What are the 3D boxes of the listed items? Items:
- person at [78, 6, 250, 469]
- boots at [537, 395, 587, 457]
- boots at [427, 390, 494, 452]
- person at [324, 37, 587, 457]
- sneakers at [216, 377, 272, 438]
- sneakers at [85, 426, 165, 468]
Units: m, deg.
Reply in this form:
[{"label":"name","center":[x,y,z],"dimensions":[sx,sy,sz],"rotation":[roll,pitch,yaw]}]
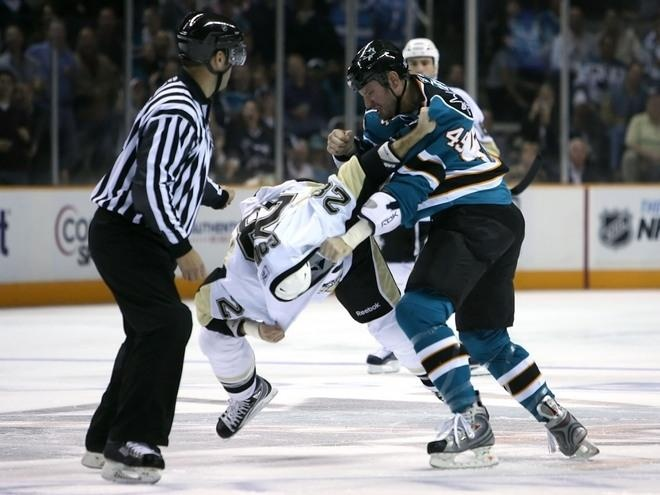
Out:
[{"label":"person","center":[-0.792,-0.035,4.568],"dimensions":[0.720,2.231,0.492],"rotation":[-2,7,-14]},{"label":"boots","center":[1.141,0.901,4.740],"dimensions":[0.192,0.324,0.137],"rotation":[-42,4,-19]},{"label":"boots","center":[0.622,0.887,4.589],"dimensions":[0.378,0.250,0.156],"rotation":[-9,-4,-20]},{"label":"person","center":[0.618,0.008,4.729],"dimensions":[1.240,2.094,0.624],"rotation":[0,6,4]},{"label":"sneakers","center":[-0.455,0.877,5.076],"dimensions":[0.101,0.340,0.148],"rotation":[41,-4,48]},{"label":"sneakers","center":[-1.015,1.008,4.533],"dimensions":[0.478,0.190,0.166],"rotation":[3,7,32]}]
